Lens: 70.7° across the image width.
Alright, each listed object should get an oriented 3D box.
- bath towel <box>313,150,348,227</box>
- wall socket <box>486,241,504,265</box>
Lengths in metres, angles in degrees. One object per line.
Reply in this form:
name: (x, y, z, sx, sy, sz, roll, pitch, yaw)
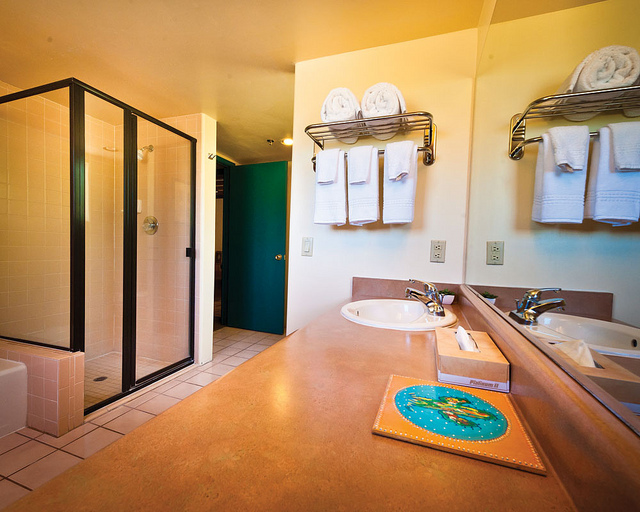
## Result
bath towel: (0.051, -0.340, 2.236, 0.163, 0.354, 0.042, 2, 6, 27)
wall socket: (0.585, -0.009, 1.499, 0.012, 0.104, 0.075, 6, -5, -16)
